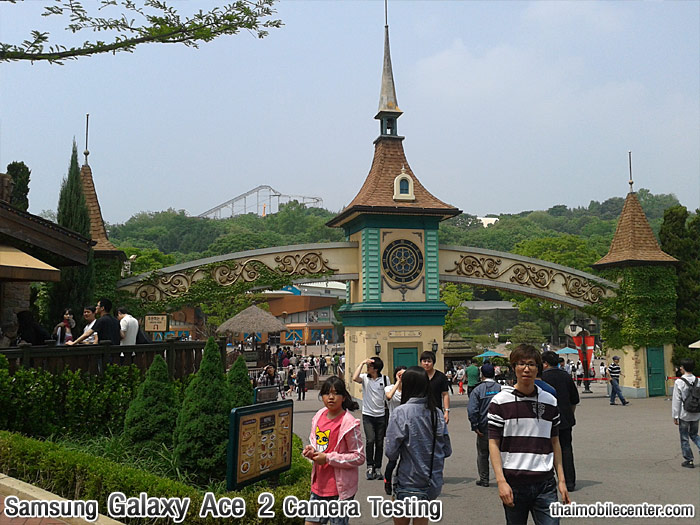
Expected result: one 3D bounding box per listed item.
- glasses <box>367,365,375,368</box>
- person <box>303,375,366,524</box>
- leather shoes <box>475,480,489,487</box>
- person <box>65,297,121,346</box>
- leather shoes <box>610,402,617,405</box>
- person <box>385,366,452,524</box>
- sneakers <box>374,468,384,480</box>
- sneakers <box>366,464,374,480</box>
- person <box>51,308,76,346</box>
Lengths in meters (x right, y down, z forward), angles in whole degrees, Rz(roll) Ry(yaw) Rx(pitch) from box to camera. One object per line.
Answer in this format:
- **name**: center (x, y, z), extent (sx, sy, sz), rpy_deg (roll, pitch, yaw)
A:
- **glasses**: center (0.411, 2.097, 15.896), extent (0.110, 0.065, 0.062), rpy_deg (-1, -11, 4)
- **person**: center (-0.245, 2.587, 11.733), extent (0.875, 1.780, 0.514), rpy_deg (1, -11, -4)
- **leather shoes**: center (2.555, 4.301, 15.521), extent (0.107, 0.112, 0.251), rpy_deg (4, -1, -43)
- **person**: center (-5.343, 1.311, 16.690), extent (0.960, 1.626, 1.003), rpy_deg (4, -17, -25)
- **leather shoes**: center (9.110, 4.944, 27.738), extent (0.235, 0.097, 0.077), rpy_deg (1, -1, -7)
- **person**: center (0.947, 2.478, 11.520), extent (0.904, 1.888, 0.432), rpy_deg (-1, -11, 4)
- **sneakers**: center (0.554, 4.266, 16.019), extent (0.131, 0.175, 0.404), rpy_deg (0, -18, -6)
- **sneakers**: center (0.362, 4.213, 15.932), extent (0.138, 0.268, 0.281), rpy_deg (5, -12, -27)
- **person**: center (-6.977, 1.846, 19.549), extent (0.456, 1.389, 0.393), rpy_deg (12, 17, 1)
